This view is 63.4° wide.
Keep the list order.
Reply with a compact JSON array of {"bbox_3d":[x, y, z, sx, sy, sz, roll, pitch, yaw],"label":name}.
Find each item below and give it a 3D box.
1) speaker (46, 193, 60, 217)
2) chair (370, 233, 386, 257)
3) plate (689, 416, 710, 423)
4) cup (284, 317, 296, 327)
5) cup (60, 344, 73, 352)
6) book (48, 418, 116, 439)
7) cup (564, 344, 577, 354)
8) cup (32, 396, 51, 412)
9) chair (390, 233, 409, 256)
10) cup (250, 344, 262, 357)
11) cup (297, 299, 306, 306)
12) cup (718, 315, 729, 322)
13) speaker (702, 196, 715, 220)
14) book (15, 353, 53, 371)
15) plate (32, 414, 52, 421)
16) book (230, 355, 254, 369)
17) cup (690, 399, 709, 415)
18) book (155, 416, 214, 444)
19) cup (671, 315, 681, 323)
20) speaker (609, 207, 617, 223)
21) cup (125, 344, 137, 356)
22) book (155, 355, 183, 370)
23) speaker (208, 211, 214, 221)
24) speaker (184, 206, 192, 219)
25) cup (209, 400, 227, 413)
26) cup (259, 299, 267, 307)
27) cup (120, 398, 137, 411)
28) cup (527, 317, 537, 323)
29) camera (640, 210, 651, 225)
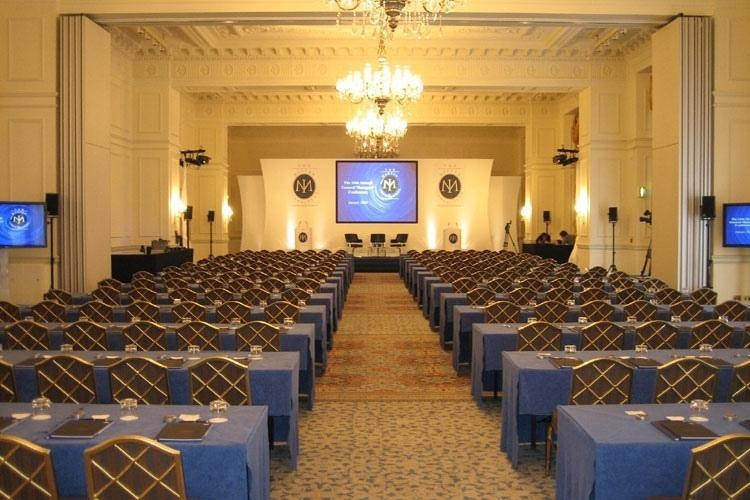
[{"bbox_3d":[-6.935,-0.973,13.072,0.244,0.488,0.184,-3,10,-31],"label":"speaker"},{"bbox_3d":[0.150,-0.241,26.367,0.750,1.288,0.868,0,6,3],"label":"chair"},{"bbox_3d":[2.714,1.412,5.107,0.171,0.011,0.106,2,9,-6],"label":"plate"},{"bbox_3d":[-1.163,0.971,8.188,0.098,0.091,0.104,0,-3,0],"label":"cup"},{"bbox_3d":[-3.428,1.087,6.769,0.130,0.088,0.137,1,1,0],"label":"cup"},{"bbox_3d":[-2.380,1.441,4.935,0.386,0.048,0.299,3,9,3],"label":"book"},{"bbox_3d":[2.176,1.103,6.777,0.128,0.089,0.175,0,-3,7],"label":"cup"},{"bbox_3d":[-2.852,1.308,5.221,0.132,0.113,0.137,0,-5,0],"label":"cup"},{"bbox_3d":[1.068,-0.319,26.164,0.879,1.042,0.746,1,-1,-18],"label":"chair"},{"bbox_3d":[-1.302,1.096,6.622,0.110,0.119,0.115,0,-2,0],"label":"cup"},{"bbox_3d":[-1.166,0.826,9.596,0.111,0.091,0.117,0,-4,0],"label":"cup"},{"bbox_3d":[4.671,0.918,8.167,0.092,0.060,0.158,1,3,15],"label":"cup"},{"bbox_3d":[7.033,-0.905,12.862,0.258,0.471,0.171,6,10,23],"label":"speaker"},{"bbox_3d":[-3.584,1.141,6.396,0.200,0.045,0.510,1,9,-10],"label":"book"},{"bbox_3d":[-2.798,1.395,5.098,0.146,0.029,0.088,0,9,-17],"label":"plate"},{"bbox_3d":[-1.384,1.156,6.368,0.163,0.048,0.163,3,3,3],"label":"book"},{"bbox_3d":[2.784,1.332,5.243,0.122,0.083,0.129,0,-1,0],"label":"cup"},{"bbox_3d":[-1.528,1.443,4.922,0.389,0.058,0.346,2,9,-1],"label":"book"},{"bbox_3d":[4.167,0.956,8.426,0.127,0.100,0.135,-2,3,0],"label":"cup"},{"bbox_3d":[7.431,-1.090,19.031,0.284,0.515,0.634,5,9,21],"label":"speaker"},{"bbox_3d":[-2.673,1.088,6.709,0.132,0.104,0.140,1,0,0],"label":"cup"},{"bbox_3d":[-2.120,1.153,6.255,0.380,0.043,0.225,6,11,10],"label":"book"},{"bbox_3d":[-6.245,-1.295,23.166,0.202,0.223,0.386,-4,5,-10],"label":"speaker"},{"bbox_3d":[-6.432,-1.277,20.884,0.222,0.466,0.529,-2,10,-26],"label":"speaker"},{"bbox_3d":[-1.340,1.323,5.215,0.135,0.095,0.133,2,9,0],"label":"cup"},{"bbox_3d":[-1.721,0.818,9.378,0.127,0.066,0.174,0,6,-2],"label":"cup"},{"bbox_3d":[-2.104,1.303,5.194,0.122,0.084,0.129,0,0,0],"label":"cup"},{"bbox_3d":[2.063,0.921,8.016,0.124,0.084,0.131,0,-2,0],"label":"cup"},{"bbox_3d":[8.032,-0.969,18.060,0.364,0.452,0.382,2,4,15],"label":"camera"}]
